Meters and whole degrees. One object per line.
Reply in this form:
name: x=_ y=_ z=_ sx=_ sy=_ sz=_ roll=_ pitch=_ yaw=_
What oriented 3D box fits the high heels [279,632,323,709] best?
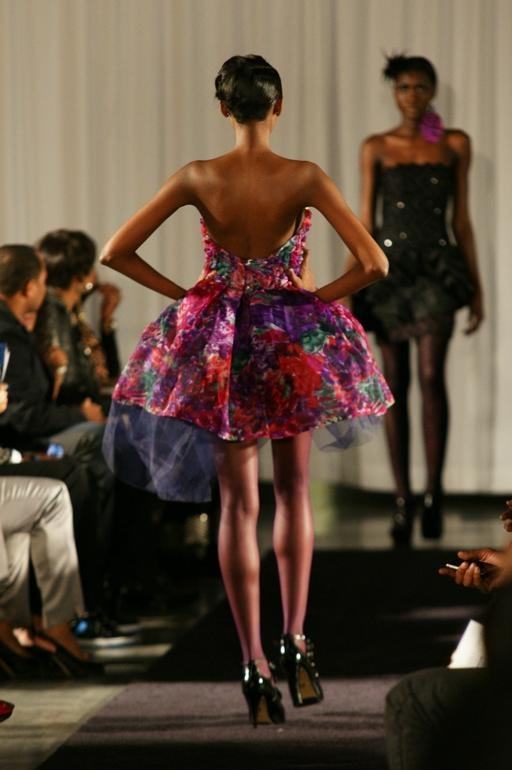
high heels: x=0.096 y=0.566 z=1.882 sx=0.072 sy=0.169 sz=0.074 roll=-15 pitch=7 yaw=11

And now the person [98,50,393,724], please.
person: x=-0.030 y=-0.009 z=2.032 sx=0.505 sy=1.385 sz=0.517 roll=-7 pitch=5 yaw=-39
